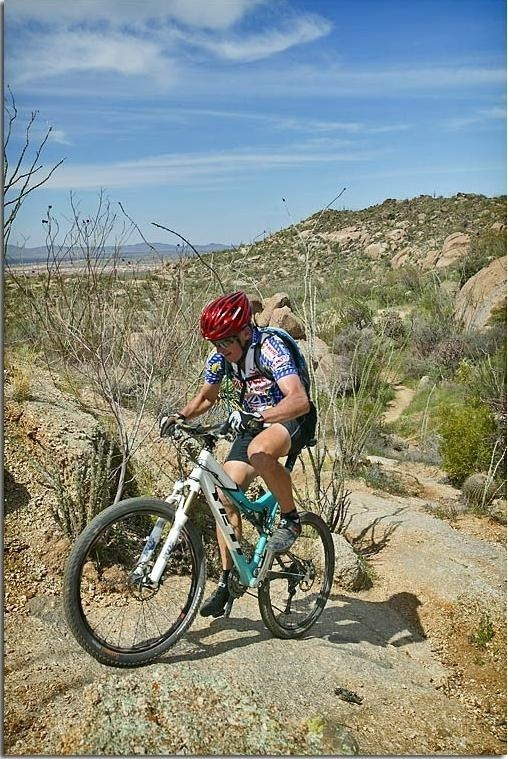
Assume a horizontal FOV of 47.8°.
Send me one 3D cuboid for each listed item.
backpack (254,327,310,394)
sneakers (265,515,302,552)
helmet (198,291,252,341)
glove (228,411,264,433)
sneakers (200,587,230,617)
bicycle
[{"bbox_3d":[0.153,-0.149,3.200,0.378,0.396,0.247,-8,11,-14],"label":"backpack"},{"bbox_3d":[0.175,0.870,3.241,0.099,0.127,0.285,2,5,20],"label":"sneakers"},{"bbox_3d":[-0.143,-0.369,3.037,0.264,0.192,0.369,5,20,35],"label":"helmet"},{"bbox_3d":[-0.038,0.201,2.748,0.136,0.081,0.096,0,1,-39],"label":"glove"},{"bbox_3d":[-0.192,1.178,3.040,0.078,0.104,0.237,10,-2,24],"label":"sneakers"},{"bbox_3d":[-0.336,0.976,3.484,1.896,1.202,0.933,8,-8,-38],"label":"bicycle"}]
